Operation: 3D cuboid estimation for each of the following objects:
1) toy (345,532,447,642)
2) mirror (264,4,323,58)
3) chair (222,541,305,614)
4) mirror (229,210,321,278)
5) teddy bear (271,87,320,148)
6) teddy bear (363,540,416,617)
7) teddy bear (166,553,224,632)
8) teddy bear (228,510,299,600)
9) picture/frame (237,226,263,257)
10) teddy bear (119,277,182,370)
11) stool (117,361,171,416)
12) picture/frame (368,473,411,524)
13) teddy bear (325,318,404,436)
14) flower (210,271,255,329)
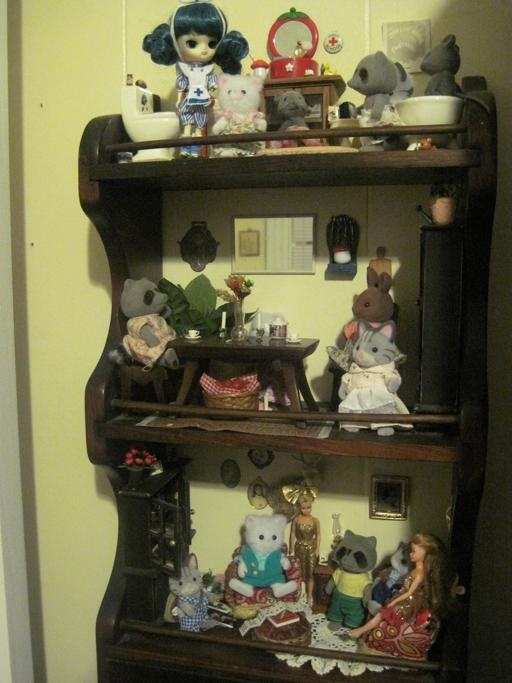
[{"bbox_3d":[0.280,0.505,1.406,0.242,0.243,0.119,-3,-1,21],"label":"toy"},{"bbox_3d":[0.070,-0.676,1.489,0.124,0.118,0.087,2,11,17],"label":"mirror"},{"bbox_3d":[0.013,0.550,1.640,0.174,0.099,0.166,1,4,1],"label":"chair"},{"bbox_3d":[0.056,-0.237,1.623,0.184,0.116,0.009,3,12,16],"label":"mirror"},{"bbox_3d":[0.086,-0.462,1.400,0.105,0.124,0.177,-2,10,-3],"label":"teddy bear"},{"bbox_3d":[0.288,0.526,1.491,0.064,0.167,0.084,36,0,-25],"label":"teddy bear"},{"bbox_3d":[-0.144,0.597,1.563,0.130,0.170,0.110,-4,-15,-40],"label":"teddy bear"},{"bbox_3d":[0.021,0.499,1.567,0.165,0.172,0.120,6,2,-8],"label":"teddy bear"},{"bbox_3d":[-0.012,-0.245,1.643,0.080,0.085,0.009,0,6,10],"label":"picture/frame"},{"bbox_3d":[-0.233,-0.043,1.601,0.178,0.233,0.220,-2,3,-5],"label":"teddy bear"},{"bbox_3d":[-0.246,0.102,1.548,0.104,0.118,0.100,0,-6,-3],"label":"stool"},{"bbox_3d":[0.324,0.372,1.603,0.130,0.139,0.015,3,7,13],"label":"picture/frame"},{"bbox_3d":[0.229,0.078,1.368,0.170,0.207,0.157,0,11,10],"label":"teddy bear"},{"bbox_3d":[-0.061,-0.086,1.576,0.113,0.174,0.138,2,0,-4],"label":"flower"}]
